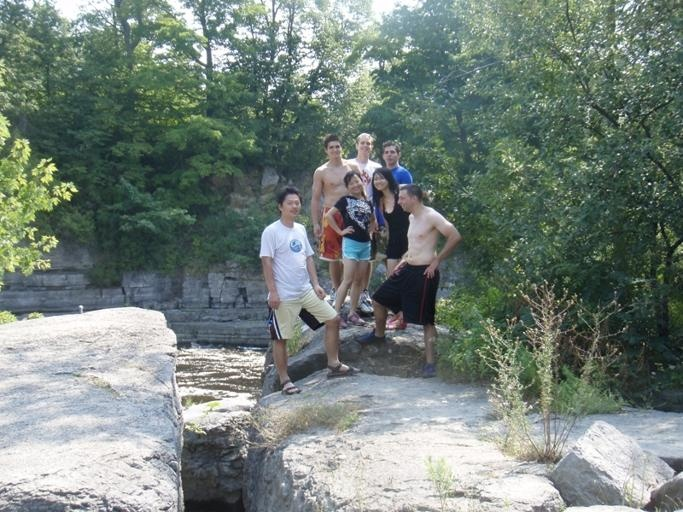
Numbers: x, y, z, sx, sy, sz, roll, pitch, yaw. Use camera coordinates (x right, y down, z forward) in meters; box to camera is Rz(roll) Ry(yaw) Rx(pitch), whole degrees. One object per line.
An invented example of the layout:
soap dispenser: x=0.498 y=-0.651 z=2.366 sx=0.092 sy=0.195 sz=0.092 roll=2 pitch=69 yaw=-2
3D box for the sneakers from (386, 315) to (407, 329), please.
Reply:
sneakers: x=0.955 y=1.164 z=13.362 sx=0.207 sy=0.155 sz=0.291 roll=0 pitch=-3 yaw=34

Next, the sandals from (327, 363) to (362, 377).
sandals: x=0.014 y=1.832 z=12.238 sx=0.420 sy=0.196 sz=0.215 roll=-3 pitch=2 yaw=-10

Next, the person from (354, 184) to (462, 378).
person: x=1.200 y=0.413 z=12.338 sx=1.441 sy=3.058 sz=0.671 roll=-2 pitch=-3 yaw=14

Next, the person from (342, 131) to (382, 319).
person: x=0.482 y=-0.576 z=13.124 sx=0.823 sy=3.294 sz=0.848 roll=-4 pitch=-8 yaw=1

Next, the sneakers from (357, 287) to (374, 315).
sneakers: x=0.417 y=0.880 z=13.737 sx=0.168 sy=0.285 sz=0.564 roll=-1 pitch=3 yaw=-10
